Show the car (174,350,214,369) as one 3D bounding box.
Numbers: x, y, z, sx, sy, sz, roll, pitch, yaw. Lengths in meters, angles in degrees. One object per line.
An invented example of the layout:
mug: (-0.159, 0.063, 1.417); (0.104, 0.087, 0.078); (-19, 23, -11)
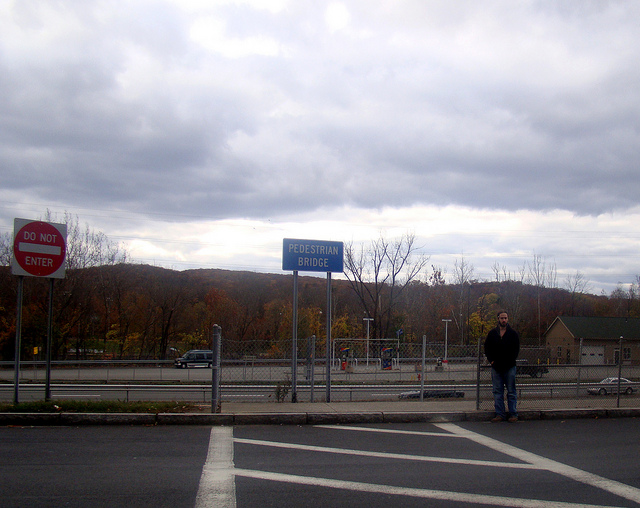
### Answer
car: (-9.465, 7.796, 52.803); (2.683, 1.114, 4.820); (-2, -5, -12)

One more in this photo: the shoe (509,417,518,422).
shoe: (4.020, 3.410, 14.652); (0.063, 0.082, 0.178); (5, -16, -19)

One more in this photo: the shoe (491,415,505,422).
shoe: (3.682, 3.399, 14.639); (0.247, 0.198, 0.091); (0, -12, 7)
